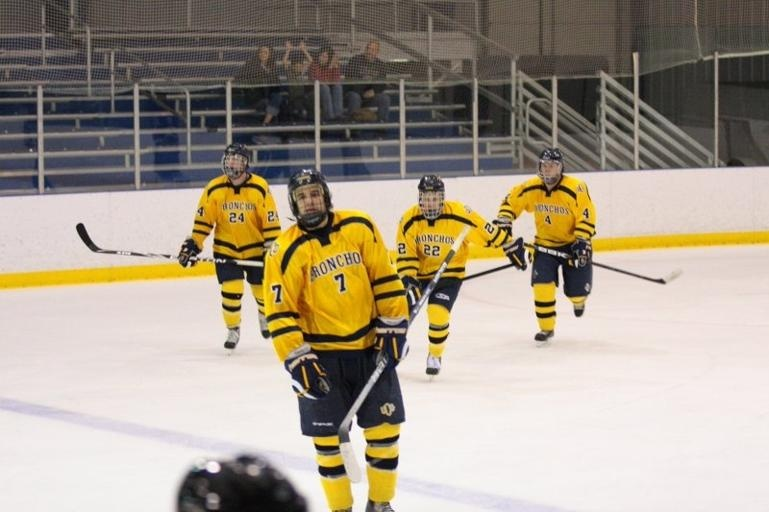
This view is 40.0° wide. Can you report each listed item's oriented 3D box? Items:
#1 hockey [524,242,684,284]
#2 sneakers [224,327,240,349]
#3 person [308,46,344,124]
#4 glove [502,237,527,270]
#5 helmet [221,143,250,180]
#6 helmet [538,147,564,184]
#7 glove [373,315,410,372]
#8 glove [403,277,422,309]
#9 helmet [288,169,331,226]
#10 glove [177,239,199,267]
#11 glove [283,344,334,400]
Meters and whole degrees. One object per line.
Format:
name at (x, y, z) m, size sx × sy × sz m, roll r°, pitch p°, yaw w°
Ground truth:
hockey at (2.058, 0.074, 9.997) m, size 1.016 × 0.132 × 0.122 m, roll 20°, pitch 19°, yaw -30°
sneakers at (-1.257, 0.657, 8.707) m, size 0.106 × 0.182 × 0.232 m, roll 2°, pitch 8°, yaw 6°
person at (-0.654, -1.932, 11.860) m, size 0.439 × 0.761 × 0.230 m, roll -4°, pitch -2°, yaw -13°
glove at (1.043, -0.009, 8.365) m, size 0.233 × 0.240 × 0.093 m, roll -31°, pitch 33°, yaw 31°
helmet at (-1.256, -0.778, 8.708) m, size 0.234 × 0.291 × 0.298 m, roll 1°, pitch 3°, yaw 1°
helmet at (1.369, -0.743, 8.846) m, size 0.213 × 0.275 × 0.286 m, roll -4°, pitch 3°, yaw 12°
glove at (0.037, 0.482, 6.154) m, size 0.211 × 0.272 × 0.109 m, roll -1°, pitch -4°, yaw 7°
glove at (0.197, 0.257, 7.689) m, size 0.178 × 0.175 × 0.209 m, roll -3°, pitch -1°, yaw 2°
helmet at (-0.446, -0.339, 6.215) m, size 0.242 × 0.333 × 0.243 m, roll -1°, pitch 9°, yaw -11°
glove at (-1.624, -0.034, 8.771) m, size 0.176 × 0.256 × 0.095 m, roll 8°, pitch -3°, yaw -4°
glove at (-0.451, 0.663, 6.074) m, size 0.252 × 0.308 × 0.133 m, roll -33°, pitch 2°, yaw -9°
